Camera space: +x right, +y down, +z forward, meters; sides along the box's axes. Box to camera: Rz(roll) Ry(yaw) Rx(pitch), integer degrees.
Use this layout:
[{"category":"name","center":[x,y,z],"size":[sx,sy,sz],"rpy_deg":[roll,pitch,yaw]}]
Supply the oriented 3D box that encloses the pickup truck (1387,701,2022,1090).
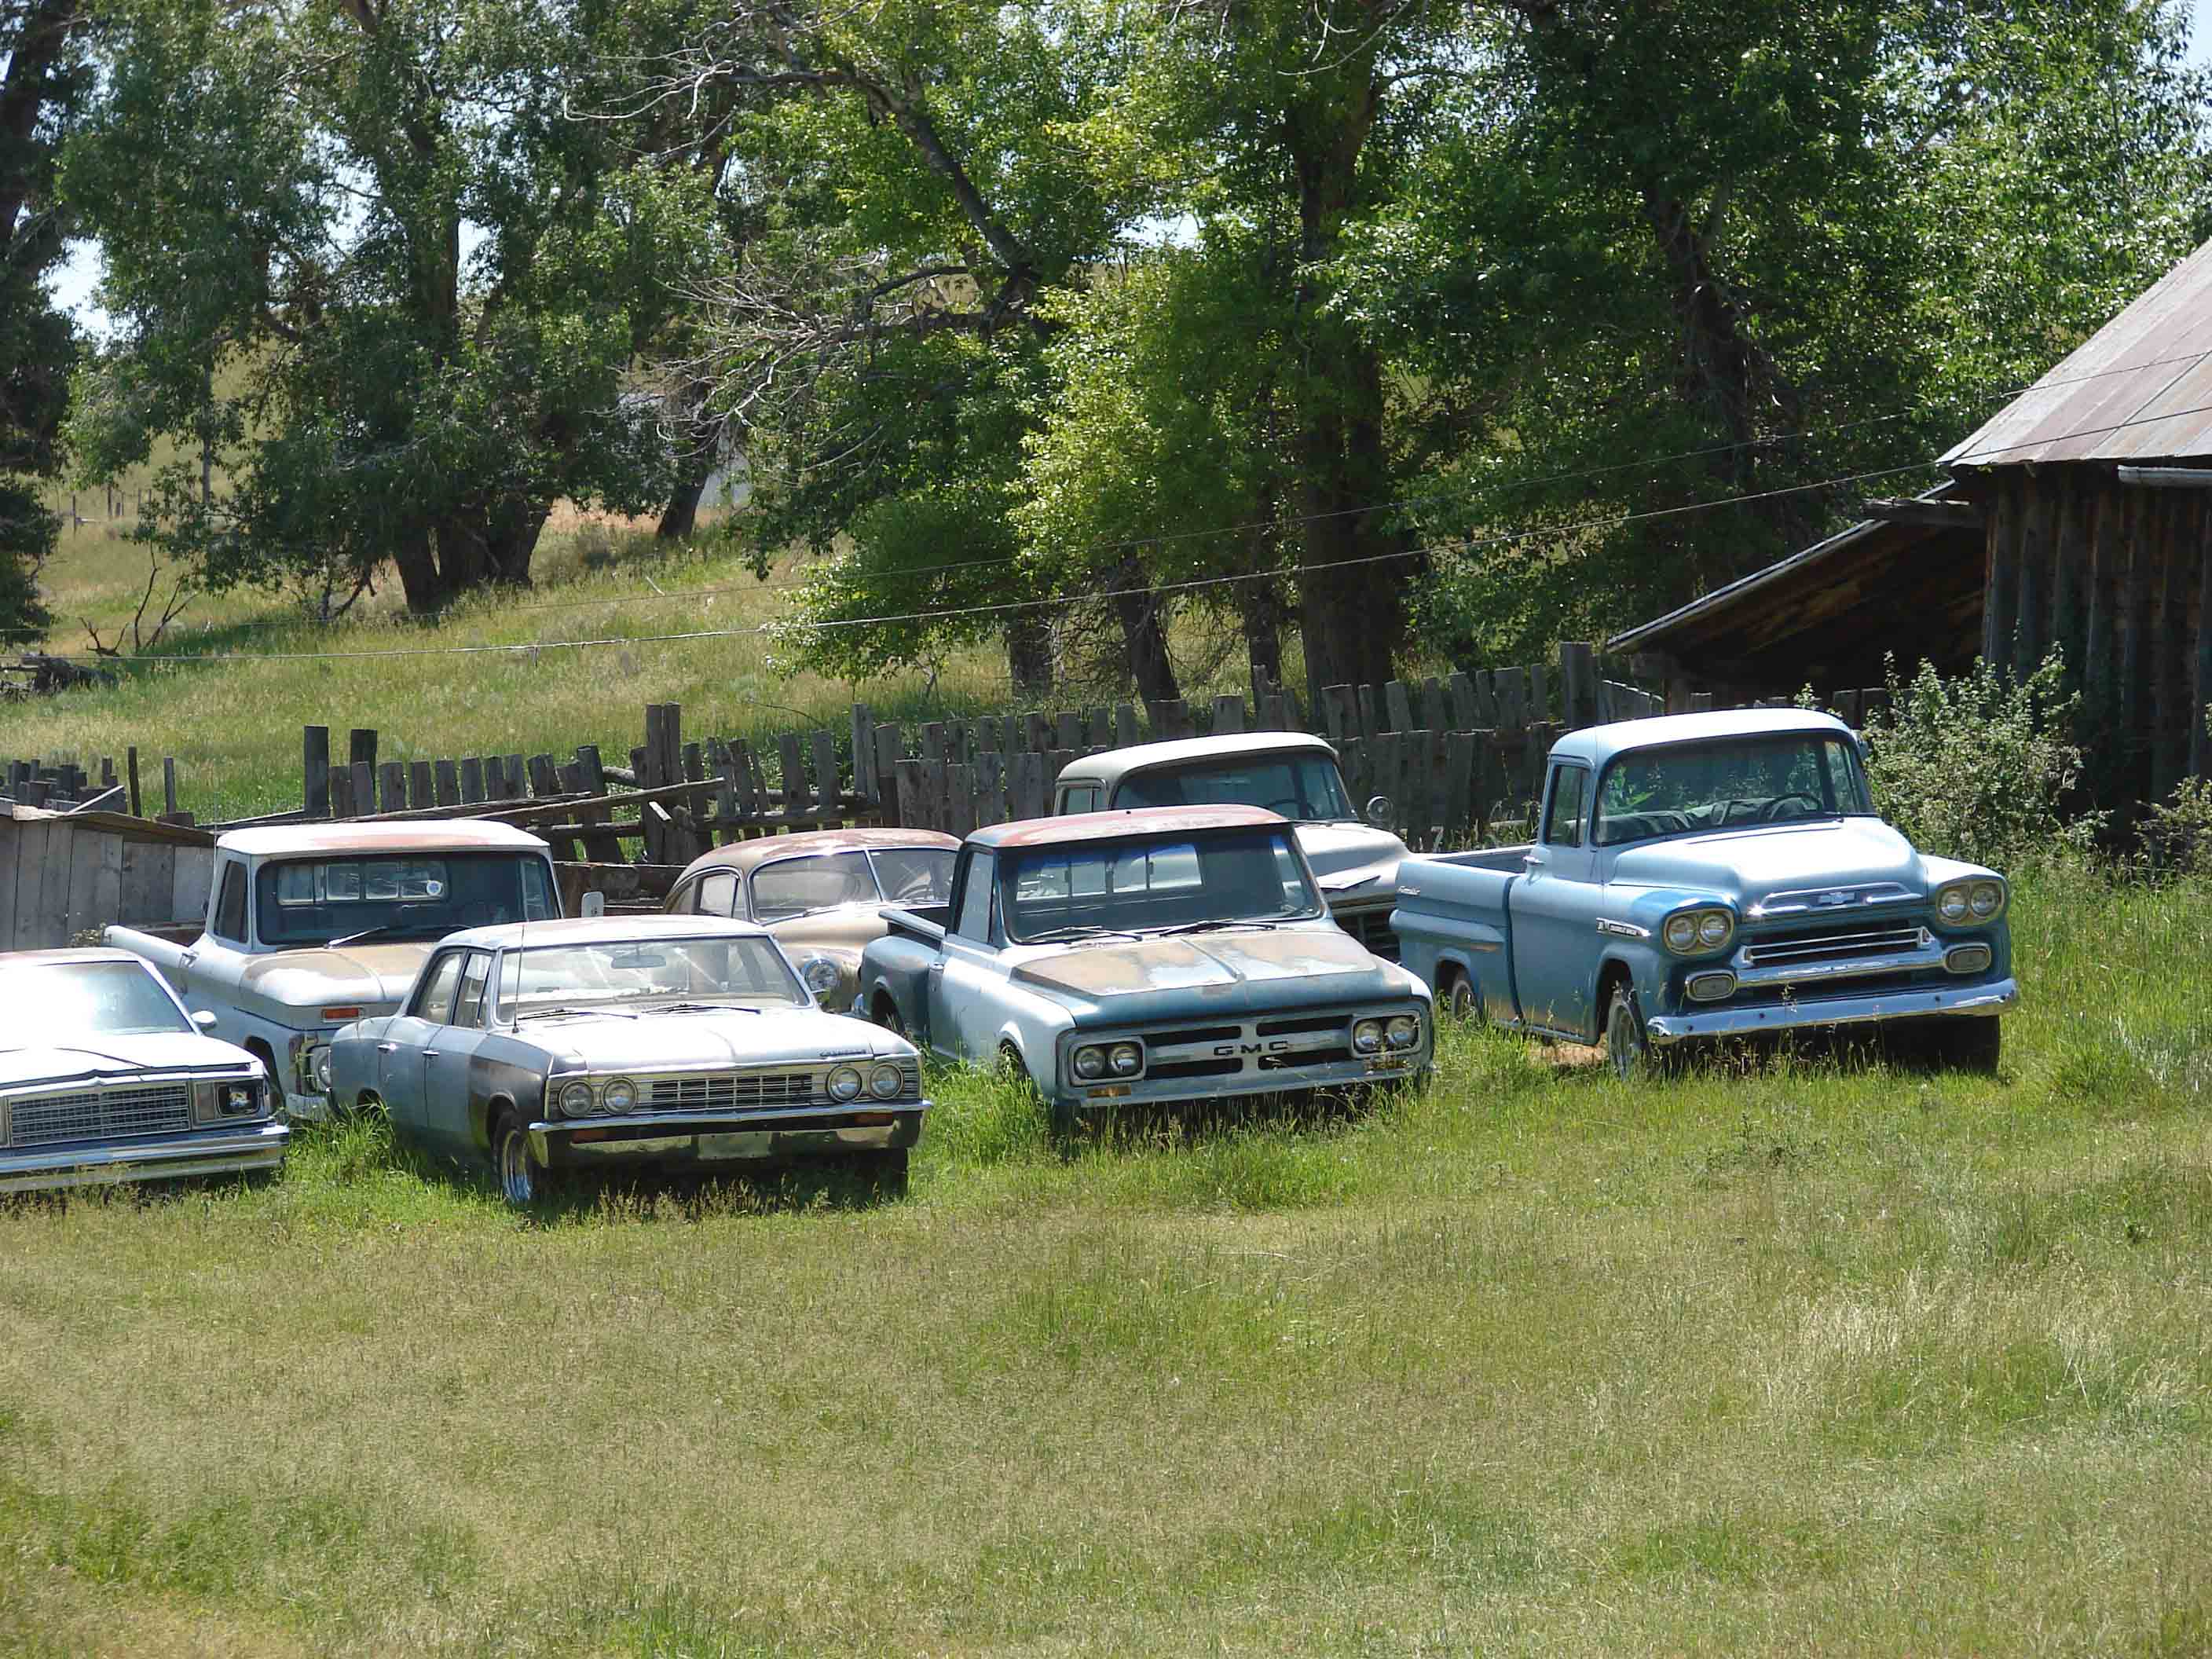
[{"category":"pickup truck","center":[5.836,0.710,47.513],"size":[4.251,3.779,7.703],"rpy_deg":[-5,4,-17]}]

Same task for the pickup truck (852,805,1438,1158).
[{"category":"pickup truck","center":[0.476,1.351,45.062],"size":[5.127,3.045,2.424],"rpy_deg":[-2,0,-1]}]
